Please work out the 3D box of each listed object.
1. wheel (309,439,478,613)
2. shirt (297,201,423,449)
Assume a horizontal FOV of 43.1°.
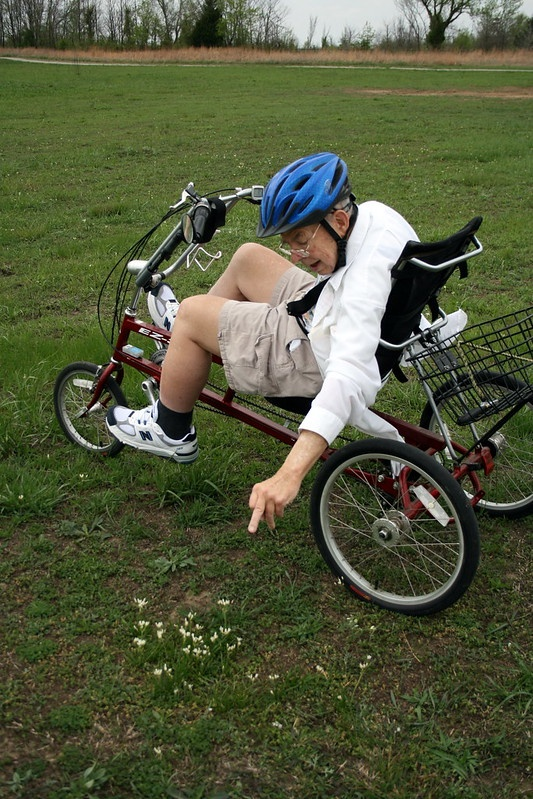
[{"bbox_3d":[0.489,0.503,2.579,0.576,0.574,0.140,-13,7,34],"label":"wheel"},{"bbox_3d":[0.314,-0.276,2.374,0.370,0.464,1.284,11,42,3],"label":"shirt"}]
